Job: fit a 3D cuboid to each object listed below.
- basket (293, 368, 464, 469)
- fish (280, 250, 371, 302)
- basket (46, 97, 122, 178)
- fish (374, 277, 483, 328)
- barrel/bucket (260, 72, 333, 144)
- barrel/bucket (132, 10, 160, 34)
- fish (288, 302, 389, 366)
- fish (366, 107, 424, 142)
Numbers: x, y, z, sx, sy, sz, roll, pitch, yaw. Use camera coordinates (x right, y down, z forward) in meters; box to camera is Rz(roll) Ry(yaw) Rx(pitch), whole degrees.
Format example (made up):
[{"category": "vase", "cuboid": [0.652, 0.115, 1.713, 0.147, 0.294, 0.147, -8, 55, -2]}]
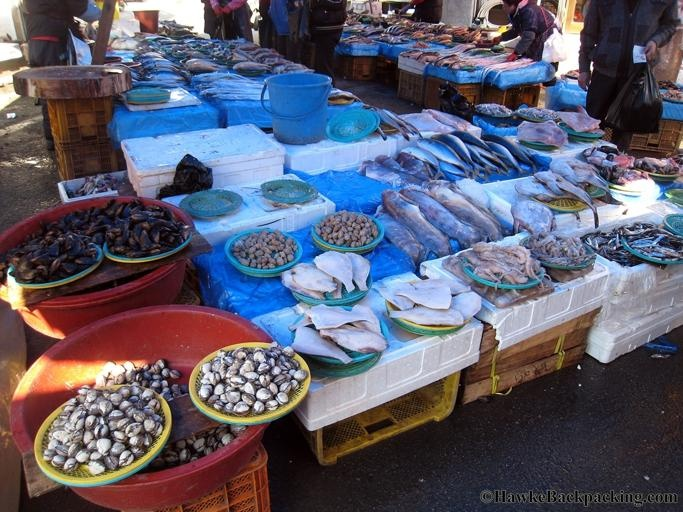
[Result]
[{"category": "basket", "cuboid": [0.324, 1.217, 3.483, 0.840, 0.227, 0.784, -18, 29, -17]}, {"category": "fish", "cuboid": [-0.070, 0.158, 3.360, 0.467, 0.100, 0.432, -21, 37, -18]}, {"category": "basket", "cuboid": [-2.889, -1.396, 5.417, 0.705, 0.648, 1.090, -14, 34, -28]}, {"category": "fish", "cuboid": [0.606, 0.322, 3.226, 0.451, 0.083, 0.413, 12, 34, 25]}, {"category": "barrel/bucket", "cuboid": [-0.412, -1.625, 5.338, 0.948, 0.620, 0.800, 9, 37, 12]}, {"category": "barrel/bucket", "cuboid": [-5.886, -7.143, 14.377, 0.387, 0.568, 0.783, 23, 36, 26]}, {"category": "fish", "cuboid": [-0.005, 0.482, 2.938, 0.468, 0.105, 0.394, -2, 32, -8]}, {"category": "fish", "cuboid": [0.620, -1.548, 5.530, 0.545, 0.145, 0.508, -6, 37, -38]}]
